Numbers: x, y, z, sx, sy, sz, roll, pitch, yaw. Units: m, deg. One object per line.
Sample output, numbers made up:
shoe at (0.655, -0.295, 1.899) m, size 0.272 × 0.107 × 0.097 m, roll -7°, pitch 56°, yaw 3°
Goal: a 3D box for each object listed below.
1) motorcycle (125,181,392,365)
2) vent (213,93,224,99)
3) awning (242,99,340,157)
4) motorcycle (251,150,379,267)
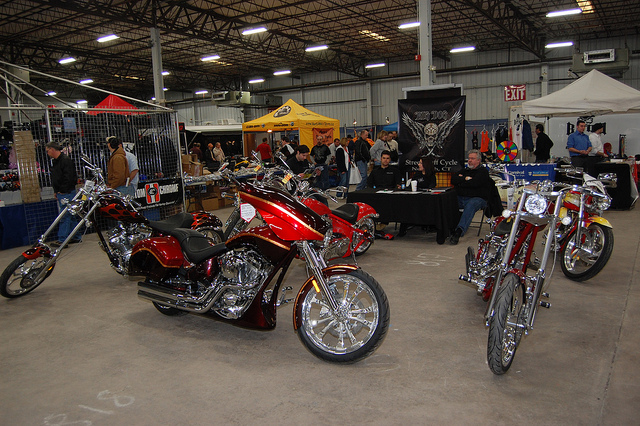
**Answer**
motorcycle at (-0.805, 0.494, 4.764) m, size 3.144 × 1.884 × 1.308 m, roll 6°, pitch 8°, yaw 26°
vent at (-6.702, -7.679, 27.790) m, size 0.943 × 0.334 × 0.177 m, roll 6°, pitch 15°, yaw 29°
awning at (-0.813, -3.527, 16.111) m, size 2.710 × 1.861 × 2.709 m, roll 4°, pitch 19°, yaw 20°
motorcycle at (0.061, 0.151, 6.528) m, size 2.340 × 1.557 × 1.351 m, roll -12°, pitch 15°, yaw -35°
